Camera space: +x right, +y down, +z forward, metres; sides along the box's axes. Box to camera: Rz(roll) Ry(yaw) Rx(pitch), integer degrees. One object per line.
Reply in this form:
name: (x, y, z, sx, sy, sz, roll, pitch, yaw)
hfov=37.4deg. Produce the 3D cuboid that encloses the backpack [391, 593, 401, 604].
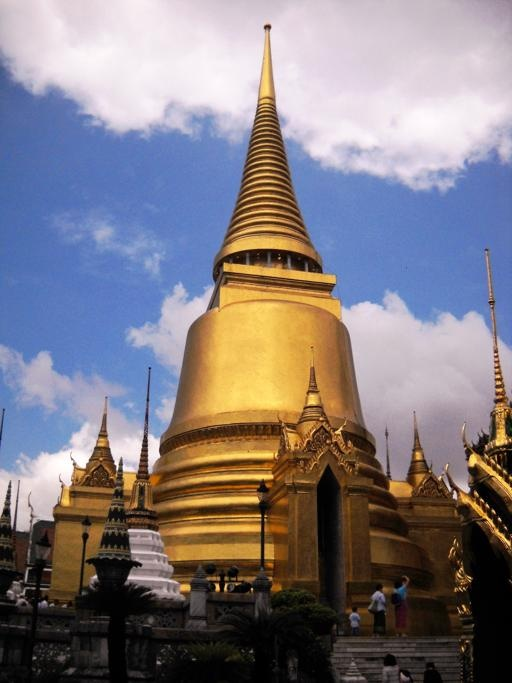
backpack: (2.707, 4.973, 14.610, 0.179, 0.210, 0.194, -2, -18, 9)

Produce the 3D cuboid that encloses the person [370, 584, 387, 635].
person: (2.344, 5.241, 14.825, 0.295, 0.909, 0.810, -1, -18, 7)
